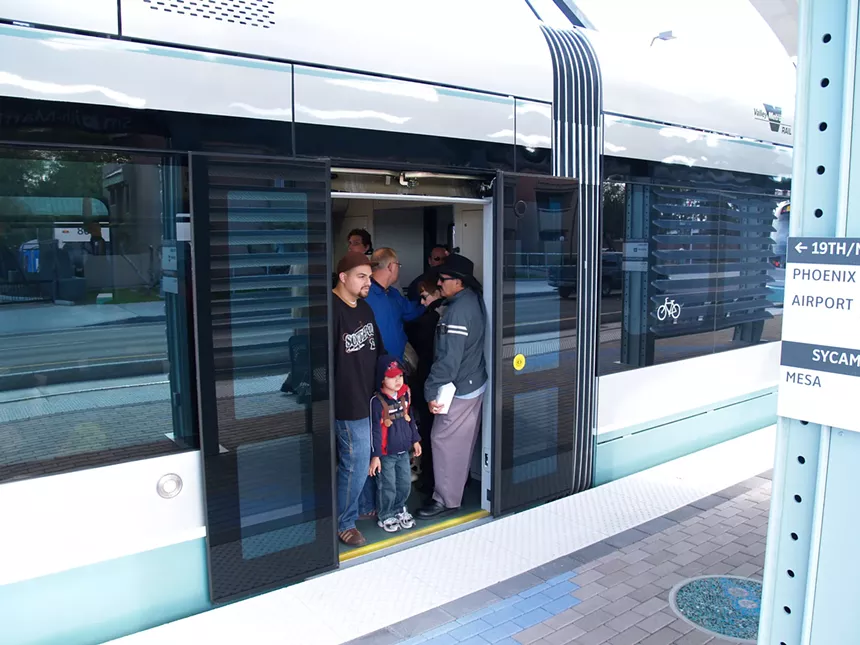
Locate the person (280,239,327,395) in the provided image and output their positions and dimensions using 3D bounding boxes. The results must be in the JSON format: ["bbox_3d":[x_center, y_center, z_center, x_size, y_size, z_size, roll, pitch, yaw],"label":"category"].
[{"bbox_3d":[-0.831,-0.146,3.719,0.357,1.067,0.213,-3,-27,-6],"label":"person"}]

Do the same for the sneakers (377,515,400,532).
[{"bbox_3d":[-0.294,1.509,4.396,0.070,0.070,0.162,3,-7,-40],"label":"sneakers"}]

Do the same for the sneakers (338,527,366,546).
[{"bbox_3d":[-0.547,1.523,4.140,0.170,0.075,0.090,3,5,41],"label":"sneakers"}]

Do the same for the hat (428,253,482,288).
[{"bbox_3d":[0.218,-0.367,4.573,0.302,0.128,0.258,26,11,-14],"label":"hat"}]

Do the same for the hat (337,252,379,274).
[{"bbox_3d":[-0.543,-0.430,4.172,0.198,0.104,0.141,-16,10,-6],"label":"hat"}]

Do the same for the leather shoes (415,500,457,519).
[{"bbox_3d":[0.052,1.447,4.573,0.266,0.113,0.115,2,1,-21],"label":"leather shoes"}]

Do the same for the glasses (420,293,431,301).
[{"bbox_3d":[-0.031,-0.221,5.121,0.057,0.055,0.088,9,-6,-32],"label":"glasses"}]

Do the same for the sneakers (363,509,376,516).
[{"bbox_3d":[-0.466,1.490,4.613,0.039,0.050,0.117,0,-6,38],"label":"sneakers"}]

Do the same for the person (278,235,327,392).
[{"bbox_3d":[-0.758,-0.014,3.527,0.304,0.989,0.166,-2,11,-19],"label":"person"}]

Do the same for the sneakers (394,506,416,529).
[{"bbox_3d":[-0.170,1.486,4.423,0.078,0.069,0.170,0,-2,-30],"label":"sneakers"}]
